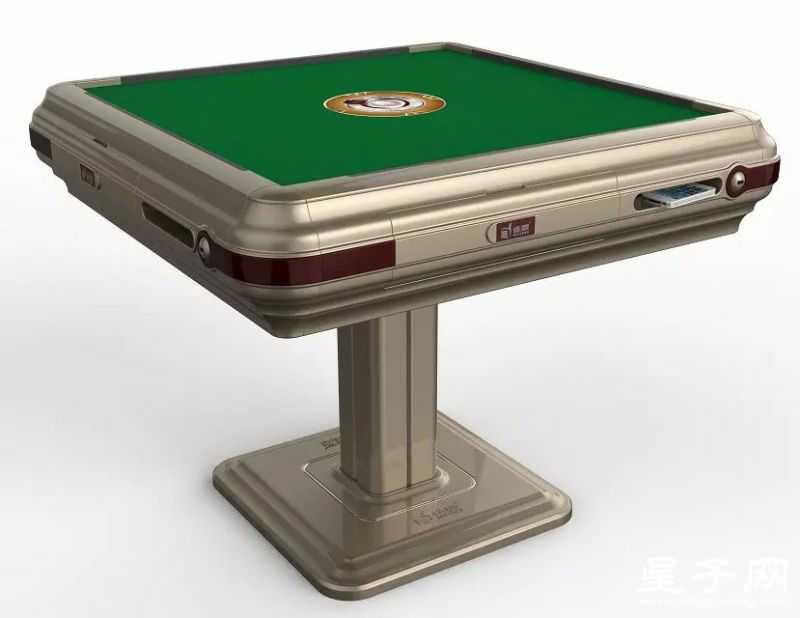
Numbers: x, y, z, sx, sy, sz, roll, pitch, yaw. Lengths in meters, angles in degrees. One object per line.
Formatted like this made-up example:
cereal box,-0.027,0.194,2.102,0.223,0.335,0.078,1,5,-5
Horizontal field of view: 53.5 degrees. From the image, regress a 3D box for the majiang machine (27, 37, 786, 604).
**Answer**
majiang machine,-0.100,-0.064,2.180,1.704,0.952,1.494,-11,23,-28
